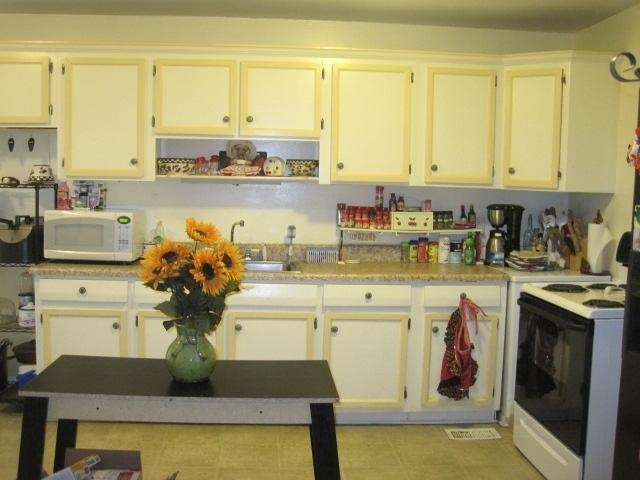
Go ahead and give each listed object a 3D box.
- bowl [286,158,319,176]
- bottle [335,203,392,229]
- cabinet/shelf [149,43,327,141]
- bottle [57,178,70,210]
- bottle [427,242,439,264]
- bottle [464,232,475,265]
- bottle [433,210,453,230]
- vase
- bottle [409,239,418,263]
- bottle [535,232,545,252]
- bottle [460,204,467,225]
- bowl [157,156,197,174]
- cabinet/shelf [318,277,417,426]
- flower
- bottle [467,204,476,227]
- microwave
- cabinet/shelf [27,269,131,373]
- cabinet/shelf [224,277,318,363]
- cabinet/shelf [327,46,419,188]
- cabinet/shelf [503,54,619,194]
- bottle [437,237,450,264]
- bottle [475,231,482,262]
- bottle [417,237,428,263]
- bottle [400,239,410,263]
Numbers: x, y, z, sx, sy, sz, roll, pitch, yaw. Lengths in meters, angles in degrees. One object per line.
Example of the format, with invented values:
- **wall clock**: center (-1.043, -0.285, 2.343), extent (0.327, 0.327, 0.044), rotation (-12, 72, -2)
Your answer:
- **bowl**: center (-0.132, -0.557, 4.296), extent (0.242, 0.133, 0.286), rotation (-1, 8, -2)
- **bottle**: center (0.351, -0.183, 4.382), extent (0.418, 0.182, 0.165), rotation (0, 8, 7)
- **cabinet/shelf**: center (-0.605, -1.080, 4.235), extent (1.268, 0.600, 0.394), rotation (0, 15, -8)
- **bottle**: center (-2.007, -0.361, 4.343), extent (0.092, 0.197, 0.154), rotation (-5, 9, -27)
- **bottle**: center (0.918, 0.100, 4.592), extent (0.137, 0.217, 0.137), rotation (0, 3, 0)
- **bottle**: center (1.211, 0.060, 4.490), extent (0.102, 0.242, 0.239), rotation (1, 8, 14)
- **bottle**: center (1.005, -0.161, 4.424), extent (0.106, 0.139, 0.314), rotation (6, 10, 38)
- **vase**: center (-0.597, 0.515, 2.594), extent (0.244, 0.251, 0.238), rotation (3, 6, -43)
- **bottle**: center (0.753, 0.091, 4.479), extent (0.075, 0.170, 0.042), rotation (0, 8, 3)
- **bottle**: center (1.748, 0.015, 4.411), extent (0.075, 0.121, 0.220), rotation (3, 8, 22)
- **bottle**: center (1.166, -0.209, 4.499), extent (0.057, 0.144, 0.215), rotation (1, 8, 14)
- **bowl**: center (-1.081, -0.550, 4.187), extent (0.288, 0.126, 0.083), rotation (-2, 8, -10)
- **cabinet/shelf**: center (0.334, 0.734, 4.132), extent (0.629, 1.044, 0.549), rotation (2, 8, 3)
- **flower**: center (-0.615, 0.242, 2.482), extent (0.427, 0.479, 0.313), rotation (12, -18, -25)
- **bottle**: center (1.238, -0.200, 4.504), extent (0.077, 0.174, 0.233), rotation (2, 8, 15)
- **microwave**: center (-1.676, -0.031, 4.039), extent (0.681, 0.403, 0.416), rotation (1, 0, 2)
- **cabinet/shelf**: center (-1.606, 0.676, 4.090), extent (0.796, 0.892, 0.470), rotation (-1, 0, 6)
- **cabinet/shelf**: center (-0.336, 0.492, 4.165), extent (0.854, 0.791, 0.567), rotation (0, 1, -1)
- **cabinet/shelf**: center (0.276, -0.942, 4.392), extent (0.901, 0.958, 0.865), rotation (3, 15, 10)
- **cabinet/shelf**: center (1.896, -0.906, 4.356), extent (0.698, 1.002, 0.724), rotation (-8, 14, -26)
- **bottle**: center (0.995, 0.078, 4.454), extent (0.090, 0.210, 0.058), rotation (1, 8, 12)
- **bottle**: center (1.305, 0.052, 4.561), extent (0.053, 0.234, 0.188), rotation (2, 8, 21)
- **bottle**: center (0.837, 0.079, 4.476), extent (0.086, 0.197, 0.064), rotation (0, 8, 7)
- **bottle**: center (0.691, 0.096, 4.481), extent (0.065, 0.159, 0.056), rotation (0, 8, 8)
